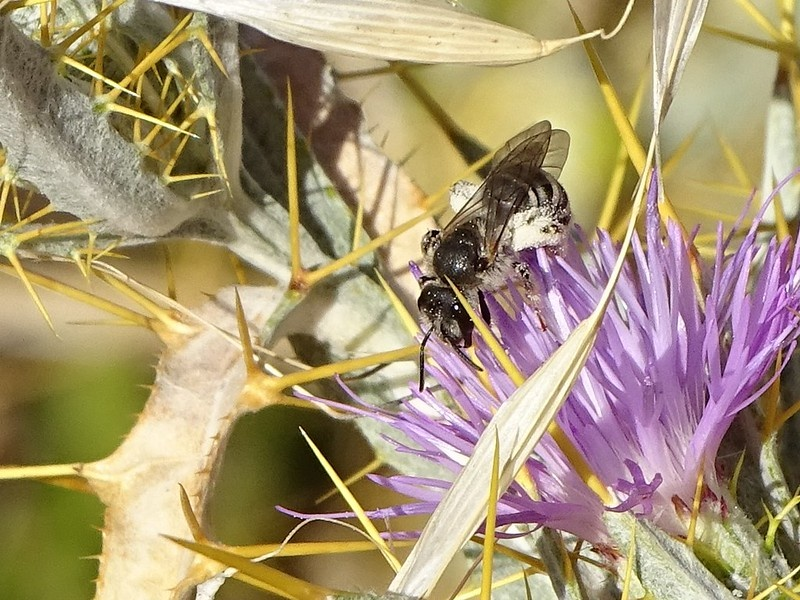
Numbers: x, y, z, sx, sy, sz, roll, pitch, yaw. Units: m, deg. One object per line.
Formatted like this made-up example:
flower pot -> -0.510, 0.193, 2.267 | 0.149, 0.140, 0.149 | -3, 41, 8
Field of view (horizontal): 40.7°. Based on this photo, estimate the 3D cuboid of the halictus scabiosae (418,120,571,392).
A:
halictus scabiosae -> 0.147, -0.103, 1.644 | 0.124, 0.392, 0.272 | 20, 8, -25
